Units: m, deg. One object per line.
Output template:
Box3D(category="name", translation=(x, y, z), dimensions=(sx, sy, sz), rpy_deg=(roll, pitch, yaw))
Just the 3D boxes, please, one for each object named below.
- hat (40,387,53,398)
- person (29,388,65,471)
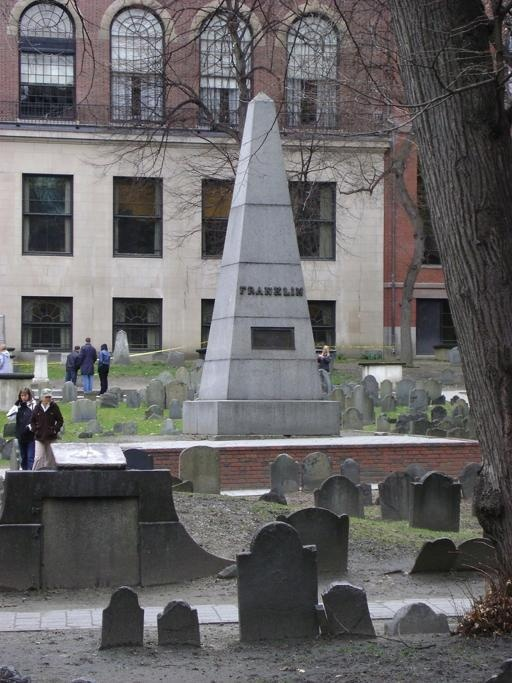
Box3D(category="hat", translation=(-2.877, 0.691, 26.566), dimensions=(0.157, 0.195, 0.228), rpy_deg=(1, -6, -13))
Box3D(category="person", translation=(-2.845, 1.176, 26.296), dimensions=(0.419, 1.012, 0.941), rpy_deg=(-1, -2, -7))
